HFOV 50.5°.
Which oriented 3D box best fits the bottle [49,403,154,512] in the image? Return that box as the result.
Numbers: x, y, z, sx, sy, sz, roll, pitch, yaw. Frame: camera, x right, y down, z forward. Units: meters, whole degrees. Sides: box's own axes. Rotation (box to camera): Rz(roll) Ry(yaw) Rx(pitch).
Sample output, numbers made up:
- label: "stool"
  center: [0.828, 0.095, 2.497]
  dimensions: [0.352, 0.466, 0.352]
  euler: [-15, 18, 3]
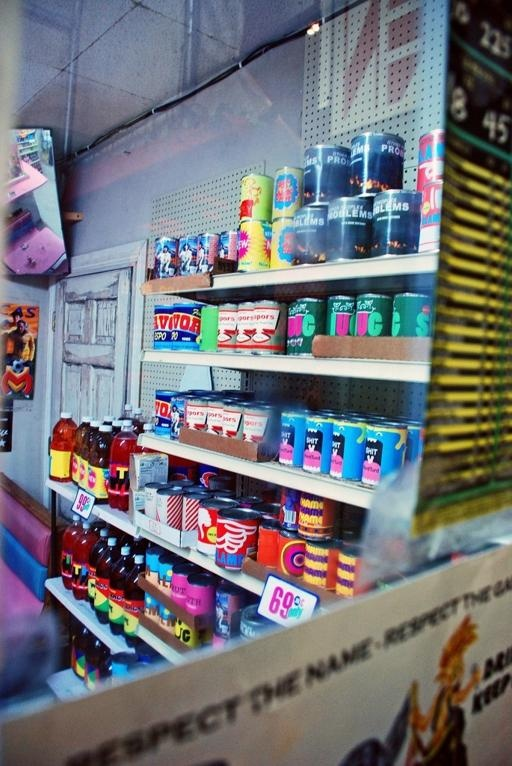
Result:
- label: "bottle"
  center: [-0.587, 0.295, 2.137]
  dimensions: [0.219, 0.415, 0.376]
  euler: [5, 9, -36]
